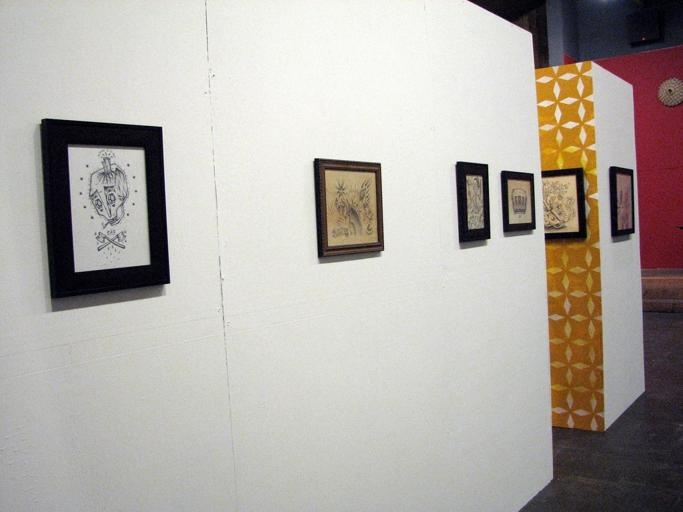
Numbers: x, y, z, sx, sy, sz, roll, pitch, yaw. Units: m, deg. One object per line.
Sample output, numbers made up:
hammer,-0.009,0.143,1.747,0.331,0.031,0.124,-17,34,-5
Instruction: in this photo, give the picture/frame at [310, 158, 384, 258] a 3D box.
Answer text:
picture/frame,0.007,-0.230,2.527,0.027,0.468,0.397,0,3,42

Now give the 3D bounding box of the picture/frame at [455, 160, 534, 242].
picture/frame,0.979,-0.343,3.395,0.881,0.476,0.053,-7,5,-44

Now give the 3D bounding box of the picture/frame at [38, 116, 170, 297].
picture/frame,-0.848,-0.176,1.889,0.517,0.869,0.076,-5,6,-43
